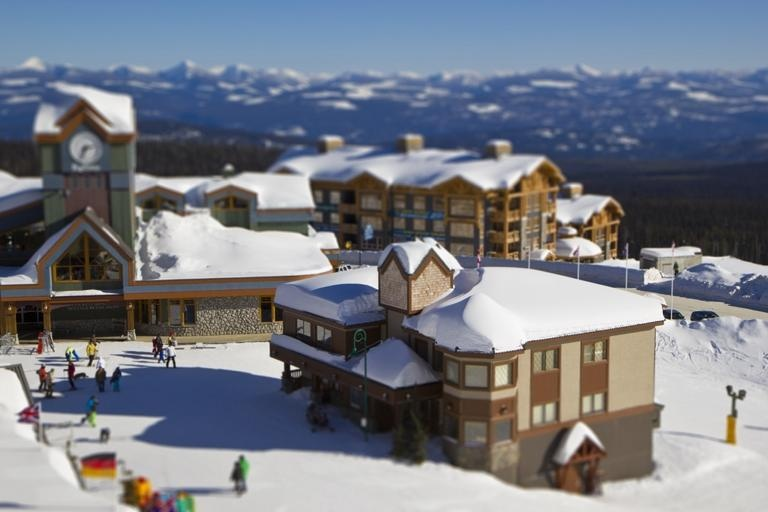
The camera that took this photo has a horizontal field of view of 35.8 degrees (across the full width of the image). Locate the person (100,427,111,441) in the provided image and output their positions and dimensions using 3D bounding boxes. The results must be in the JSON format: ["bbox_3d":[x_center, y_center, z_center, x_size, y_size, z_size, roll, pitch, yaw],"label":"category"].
[{"bbox_3d":[-20.461,12.951,86.446,0.848,1.136,0.590,0,8,-24],"label":"person"}]

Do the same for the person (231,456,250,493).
[{"bbox_3d":[-9.982,14.883,81.485,0.966,2.618,1.360,0,4,13],"label":"person"}]

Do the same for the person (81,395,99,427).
[{"bbox_3d":[-21.997,11.482,88.311,1.144,2.168,0.978,2,5,31],"label":"person"}]
